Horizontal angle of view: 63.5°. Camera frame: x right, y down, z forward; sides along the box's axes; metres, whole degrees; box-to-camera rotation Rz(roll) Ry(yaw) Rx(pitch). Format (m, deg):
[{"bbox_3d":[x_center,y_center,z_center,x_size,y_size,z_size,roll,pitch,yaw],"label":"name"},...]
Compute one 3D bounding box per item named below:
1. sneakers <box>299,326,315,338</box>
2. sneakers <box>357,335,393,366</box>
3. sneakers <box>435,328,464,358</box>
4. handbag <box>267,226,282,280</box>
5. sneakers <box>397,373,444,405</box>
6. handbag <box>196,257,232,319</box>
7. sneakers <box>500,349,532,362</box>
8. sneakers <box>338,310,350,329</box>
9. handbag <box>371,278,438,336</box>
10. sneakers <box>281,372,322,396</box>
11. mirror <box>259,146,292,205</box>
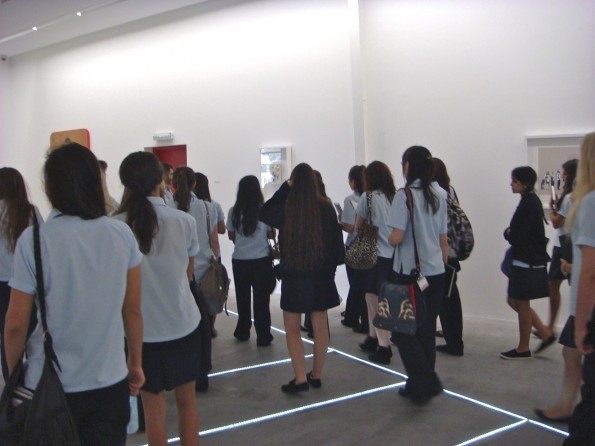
[{"bbox_3d":[0.100,1.241,5.470,0.067,0.102,0.237,-9,-30,20],"label":"sneakers"},{"bbox_3d":[0.795,1.272,4.845,0.128,0.272,0.362,-6,13,-28],"label":"sneakers"},{"bbox_3d":[1.556,1.232,4.971,0.131,0.278,0.347,-3,9,-34],"label":"sneakers"},{"bbox_3d":[-0.234,0.306,5.026,0.101,0.464,0.243,-1,-3,-8],"label":"handbag"},{"bbox_3d":[1.033,1.353,4.001,0.190,0.144,0.306,-3,-5,-24],"label":"sneakers"},{"bbox_3d":[-0.791,0.548,4.470,0.237,0.543,0.411,0,14,-8],"label":"handbag"},{"bbox_3d":[2.129,1.277,4.696,0.284,0.125,0.116,1,-5,5],"label":"sneakers"},{"bbox_3d":[0.589,1.163,5.874,0.065,0.151,0.208,-3,9,-14],"label":"sneakers"},{"bbox_3d":[0.799,0.614,3.762,0.389,0.442,0.225,0,3,35],"label":"handbag"},{"bbox_3d":[0.043,1.412,4.202,0.281,0.132,0.156,0,-4,-26],"label":"sneakers"},{"bbox_3d":[-0.340,-0.793,7.334,0.438,0.707,0.074,-4,-2,1],"label":"mirror"}]
